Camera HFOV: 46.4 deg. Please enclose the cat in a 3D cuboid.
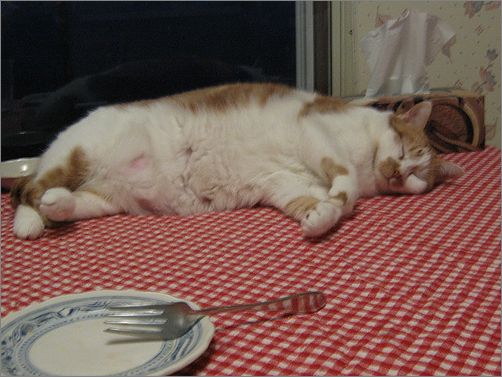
[{"bbox_3d":[-0.048,-0.107,1.890,1.072,0.330,0.606,2,15,7],"label":"cat"}]
